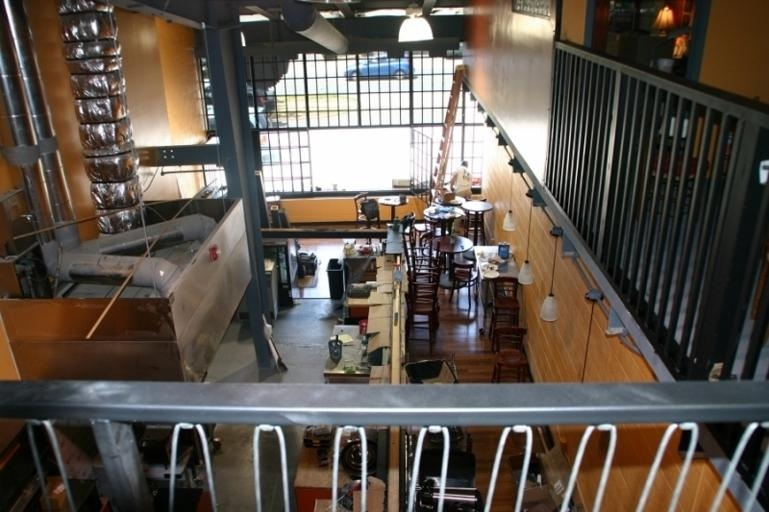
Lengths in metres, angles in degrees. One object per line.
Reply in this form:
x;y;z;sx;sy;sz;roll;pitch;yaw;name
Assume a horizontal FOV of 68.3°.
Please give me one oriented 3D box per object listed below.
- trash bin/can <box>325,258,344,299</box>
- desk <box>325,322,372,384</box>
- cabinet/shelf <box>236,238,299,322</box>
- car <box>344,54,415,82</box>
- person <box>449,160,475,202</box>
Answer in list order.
-1.127;0.547;13.144;0.370;0.974;0.480;0;-3;2;trash bin/can
-0.579;1.721;9.356;0.713;0.334;1.352;1;38;-1;desk
-2.608;0.514;12.781;0.867;1.828;2.209;-1;-3;3;cabinet/shelf
-0.189;-5.868;17.459;1.736;0.656;0.813;3;23;-3;car
1.940;-1.789;14.015;0.558;1.567;0.486;-4;48;-3;person
